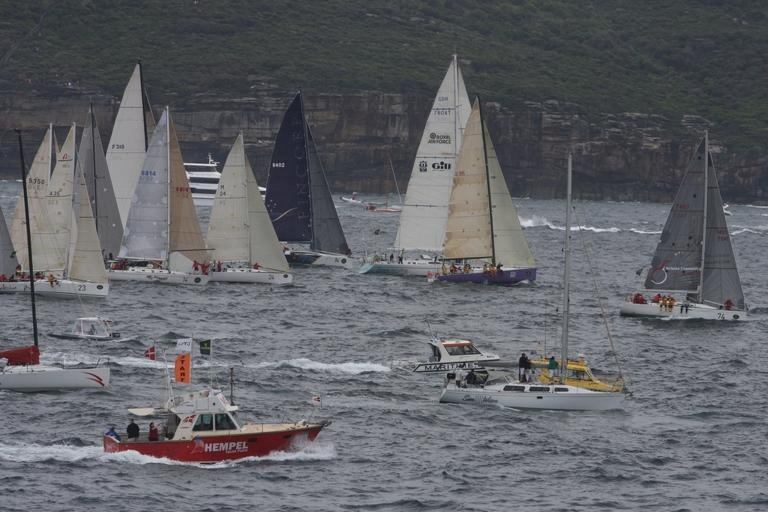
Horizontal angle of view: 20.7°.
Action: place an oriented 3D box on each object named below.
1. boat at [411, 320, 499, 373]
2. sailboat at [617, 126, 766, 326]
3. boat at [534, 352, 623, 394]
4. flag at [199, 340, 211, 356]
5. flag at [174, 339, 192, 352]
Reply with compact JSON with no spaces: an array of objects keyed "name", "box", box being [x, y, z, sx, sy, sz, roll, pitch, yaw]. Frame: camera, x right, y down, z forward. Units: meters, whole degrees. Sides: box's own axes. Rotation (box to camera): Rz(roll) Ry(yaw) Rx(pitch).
[{"name":"boat","box":[8.741,12.876,266.308,12.859,4.036,4.137,-3,4,-5]},{"name":"sailboat","box":[40.909,-3.519,277.913,12.985,24.192,1.292,2,0,6]},{"name":"boat","box":[23.491,15.216,264.031,16.269,4.731,3.961,2,2,0]},{"name":"flag","box":[-21.761,11.670,259.083,2.377,2.302,0.208,9,13,43]},{"name":"flag","box":[-24.296,11.269,258.031,2.579,1.584,0.187,0,-6,-4]}]
